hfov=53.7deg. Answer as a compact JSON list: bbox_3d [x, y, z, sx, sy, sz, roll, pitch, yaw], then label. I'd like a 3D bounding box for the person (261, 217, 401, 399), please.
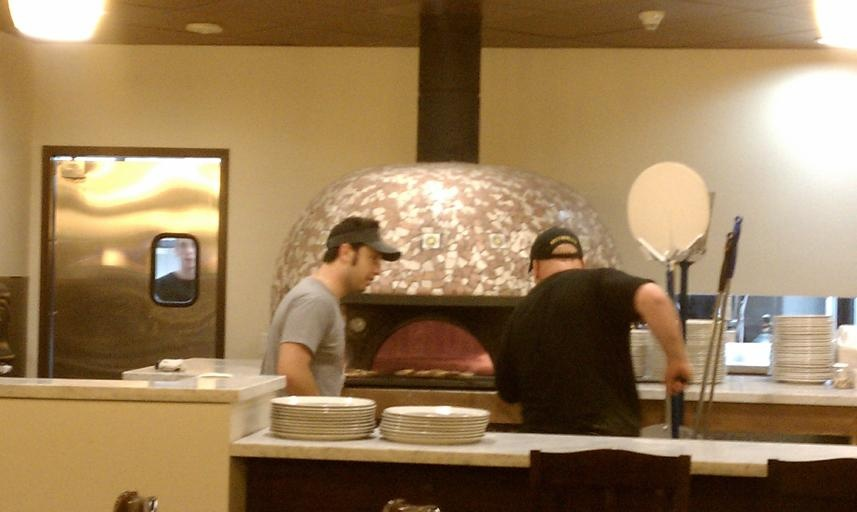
[{"bbox_3d":[-0.464,0.239,4.031,0.550,0.839,0.288,3,-5,-26],"label":"person"}]

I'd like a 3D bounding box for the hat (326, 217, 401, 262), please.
[{"bbox_3d":[-0.323,-0.091,4.099,0.332,0.153,0.191,0,-1,-6],"label":"hat"}]

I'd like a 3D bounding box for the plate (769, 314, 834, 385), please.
[{"bbox_3d":[2.236,0.562,5.100,0.444,0.396,0.411,-1,-1,1],"label":"plate"}]
